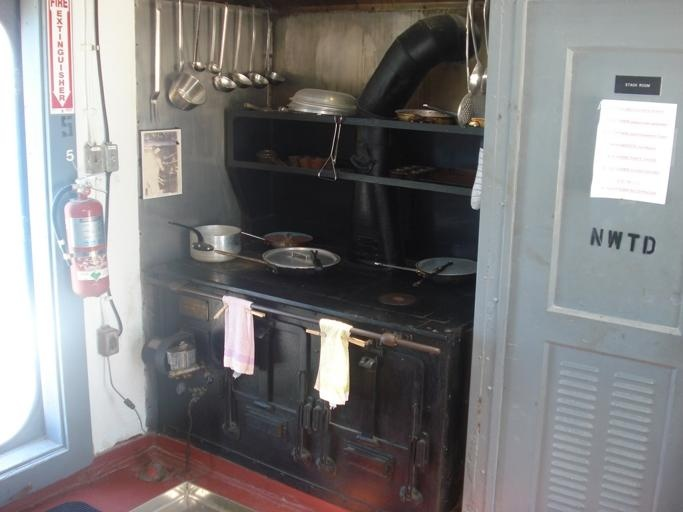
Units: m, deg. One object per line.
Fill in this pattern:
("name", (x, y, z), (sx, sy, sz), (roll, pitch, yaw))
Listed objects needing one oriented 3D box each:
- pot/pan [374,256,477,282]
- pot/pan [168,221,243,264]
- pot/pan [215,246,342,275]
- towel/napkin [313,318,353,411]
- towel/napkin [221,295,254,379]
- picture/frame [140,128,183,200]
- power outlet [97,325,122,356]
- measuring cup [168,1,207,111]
("pot/pan", (0.468, 0.057, 3.072), (0.439, 0.104, 0.408), (3, 17, -24))
("pot/pan", (-0.743, -0.121, 3.223), (0.338, 0.243, 0.328), (5, 19, -12))
("pot/pan", (-0.334, -0.056, 3.203), (0.638, 0.127, 0.632), (-1, 16, -28))
("towel/napkin", (-0.042, 0.491, 2.619), (0.162, 0.391, 0.083), (8, 16, 24))
("towel/napkin", (-0.509, 0.392, 2.855), (0.191, 0.352, 0.076), (8, 13, 32))
("picture/frame", (-0.973, -0.499, 3.111), (0.045, 0.359, 0.262), (10, 17, 27))
("power outlet", (-1.204, 0.449, 3.010), (0.089, 0.129, 0.088), (-2, 9, -17))
("measuring cup", (-0.842, -1.074, 3.095), (0.218, 0.570, 0.104), (-8, 18, -31))
